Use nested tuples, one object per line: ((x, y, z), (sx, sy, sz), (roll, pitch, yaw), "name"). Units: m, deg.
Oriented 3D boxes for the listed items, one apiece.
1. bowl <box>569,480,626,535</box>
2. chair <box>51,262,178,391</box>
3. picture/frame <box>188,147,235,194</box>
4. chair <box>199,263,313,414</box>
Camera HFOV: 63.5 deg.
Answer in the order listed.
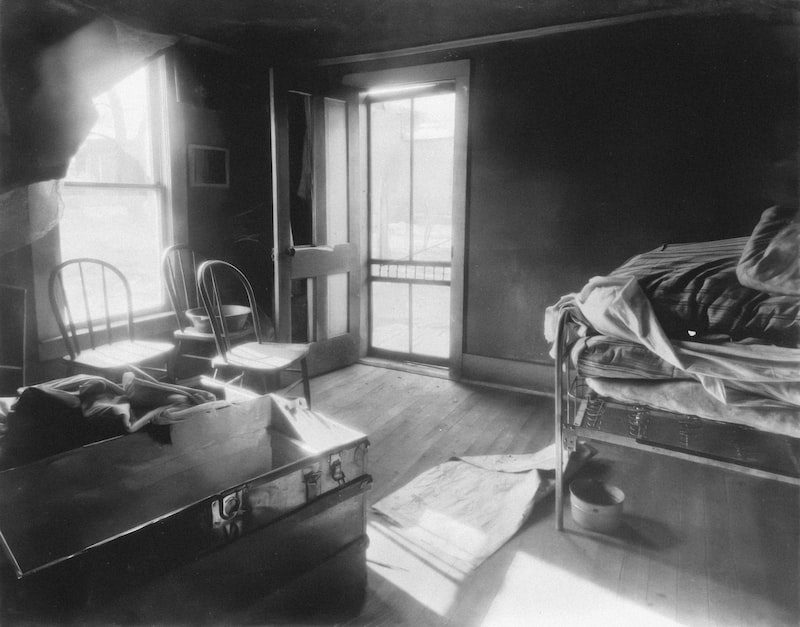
((0.608, 0.597, 2.009), (0.146, 0.094, 0.152), (0, 9, 0), "bowl")
((-1.078, 0.054, 2.405), (0.356, 0.574, 0.322), (11, 16, 21), "chair")
((-0.901, -0.681, 3.043), (0.036, 0.184, 0.259), (3, 8, 31), "picture/frame")
((-0.662, 0.068, 2.903), (0.444, 0.677, 1.072), (-5, 12, -13), "chair")
